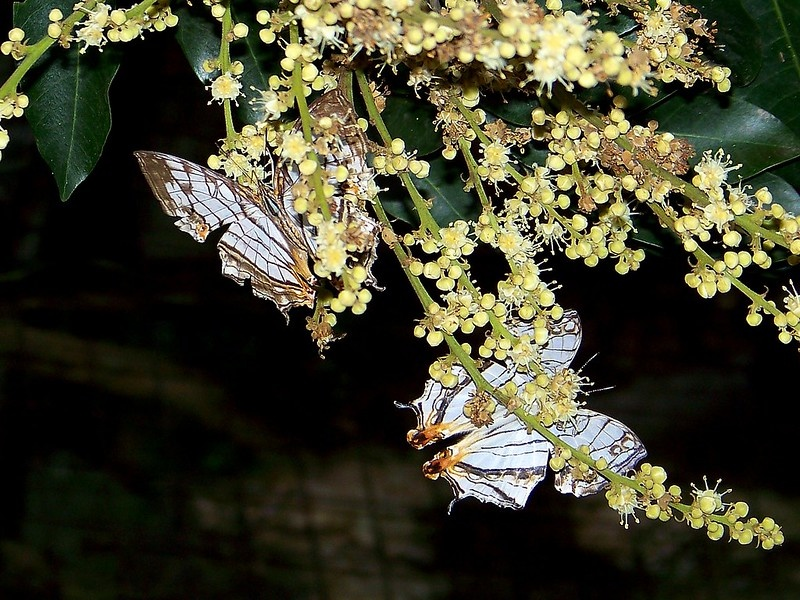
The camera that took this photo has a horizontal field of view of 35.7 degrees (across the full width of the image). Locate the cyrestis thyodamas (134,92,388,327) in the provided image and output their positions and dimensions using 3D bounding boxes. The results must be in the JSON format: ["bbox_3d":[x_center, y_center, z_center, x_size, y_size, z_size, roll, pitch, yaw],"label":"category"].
[{"bbox_3d":[-0.311,-0.188,2.766,0.151,0.564,0.335,-25,71,27],"label":"cyrestis thyodamas"}]
